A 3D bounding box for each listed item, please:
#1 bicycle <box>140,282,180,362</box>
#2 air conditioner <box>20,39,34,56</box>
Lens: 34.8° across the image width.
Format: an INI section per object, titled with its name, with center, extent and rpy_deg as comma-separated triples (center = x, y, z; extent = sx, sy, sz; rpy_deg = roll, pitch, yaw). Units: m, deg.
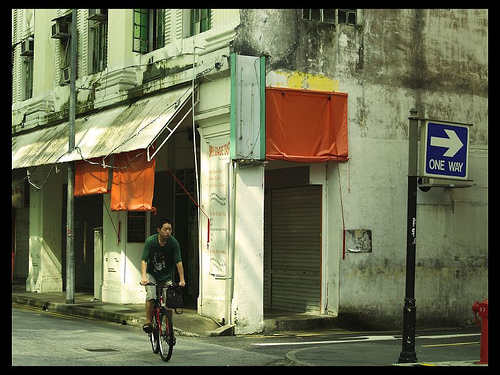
[bicycle]
center = -1.705, 2.790, 15.333
extent = 0.572, 0.868, 1.327
rpy_deg = 2, -8, -12
[air conditioner]
center = -8.702, -5.501, 31.201
extent = 0.551, 0.878, 0.633
rpy_deg = 3, -6, -16
